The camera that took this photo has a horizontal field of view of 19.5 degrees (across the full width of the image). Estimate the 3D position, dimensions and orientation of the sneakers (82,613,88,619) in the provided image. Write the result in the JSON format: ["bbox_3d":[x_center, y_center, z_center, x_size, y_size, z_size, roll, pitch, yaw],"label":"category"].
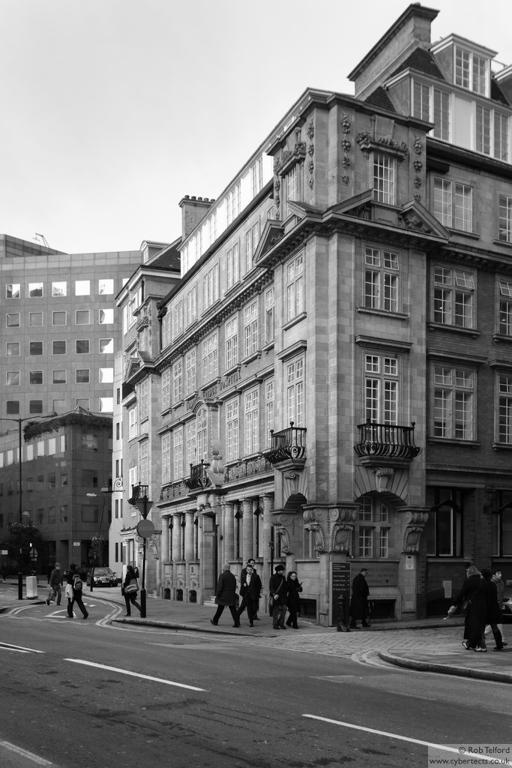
[{"bbox_3d":[-4.489,6.104,39.324,0.083,0.239,0.209,3,-2,-15],"label":"sneakers"}]

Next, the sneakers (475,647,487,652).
[{"bbox_3d":[4.036,4.756,26.738,0.205,0.107,0.321,0,-13,3],"label":"sneakers"}]

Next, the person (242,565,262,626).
[{"bbox_3d":[-0.116,5.080,36.408,0.428,1.540,0.451,-3,16,-17],"label":"person"}]

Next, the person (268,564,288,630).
[{"bbox_3d":[0.520,4.997,34.995,0.412,1.532,1.045,1,-10,0],"label":"person"}]

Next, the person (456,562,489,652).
[{"bbox_3d":[3.942,4.103,26.939,0.442,1.402,0.648,-1,-10,9],"label":"person"}]

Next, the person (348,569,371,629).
[{"bbox_3d":[2.441,5.046,35.075,0.429,1.306,1.205,0,-11,4],"label":"person"}]
